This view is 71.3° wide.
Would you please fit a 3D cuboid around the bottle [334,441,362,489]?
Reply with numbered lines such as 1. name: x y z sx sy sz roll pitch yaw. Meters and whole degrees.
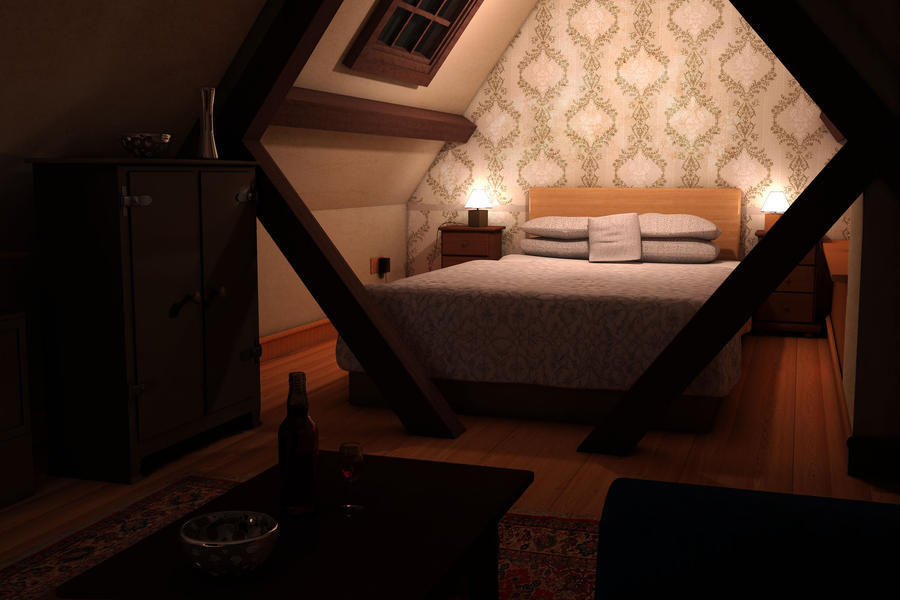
1. bottle: -0.270 0.473 1.817 0.094 0.154 0.094 -1 0 0

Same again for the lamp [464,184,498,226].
1. lamp: 0.295 -0.910 6.046 0.371 0.544 0.372 1 5 12

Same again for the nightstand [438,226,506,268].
1. nightstand: 0.219 -0.515 5.922 0.565 0.523 0.397 0 1 16

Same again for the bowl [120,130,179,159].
1. bowl: -1.471 -0.753 3.041 0.195 0.128 0.341 -5 14 3

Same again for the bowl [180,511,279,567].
1. bowl: -0.523 0.560 1.494 0.217 0.083 0.201 -5 14 1

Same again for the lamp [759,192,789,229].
1. lamp: 2.770 -0.765 5.304 0.200 0.335 0.198 1 15 27

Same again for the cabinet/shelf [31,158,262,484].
1. cabinet/shelf: -1.448 0.040 3.035 0.576 1.451 0.969 1 15 26

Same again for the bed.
1. bed: 0.753 -0.187 4.673 2.613 1.091 3.207 1 15 25
